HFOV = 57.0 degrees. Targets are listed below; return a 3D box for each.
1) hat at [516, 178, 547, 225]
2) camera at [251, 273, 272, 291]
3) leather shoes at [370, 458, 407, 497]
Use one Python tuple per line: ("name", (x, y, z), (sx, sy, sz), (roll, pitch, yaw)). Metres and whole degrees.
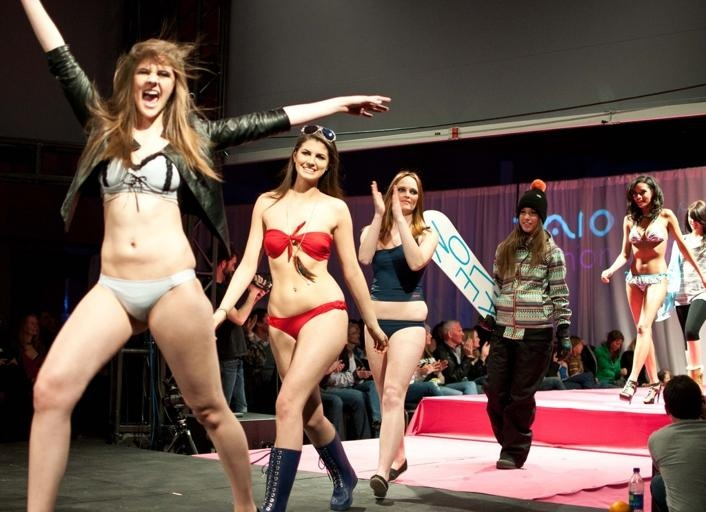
("hat", (1.575, -0.498, 5.697), (0.218, 0.370, 0.344), (9, 9, 34))
("camera", (-0.649, 0.187, 4.600), (0.109, 0.042, 0.114), (29, 11, -13))
("leather shoes", (0.224, 1.552, 4.420), (0.128, 0.153, 0.414), (2, -37, 9))
